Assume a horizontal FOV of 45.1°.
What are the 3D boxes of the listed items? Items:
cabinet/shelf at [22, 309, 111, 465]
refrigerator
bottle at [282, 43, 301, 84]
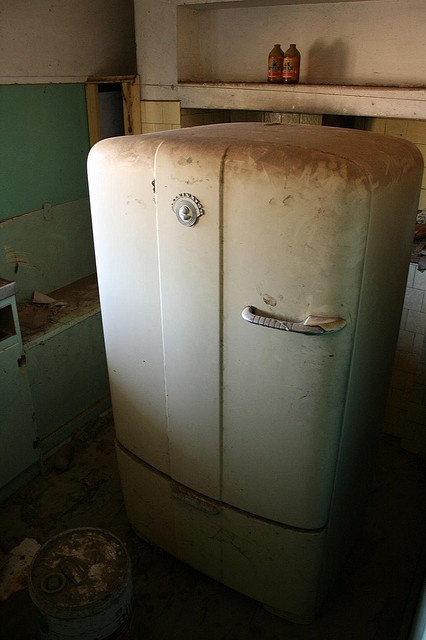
[{"bbox_3d":[-0.682,0.375,2.976,0.681,0.650,0.362,-31,-30,29],"label":"cabinet/shelf"},{"bbox_3d":[0.066,0.245,1.762,0.883,1.661,0.436,15,27,31],"label":"refrigerator"},{"bbox_3d":[0.462,-1.489,3.002,0.104,0.206,0.182,4,23,8],"label":"bottle"}]
